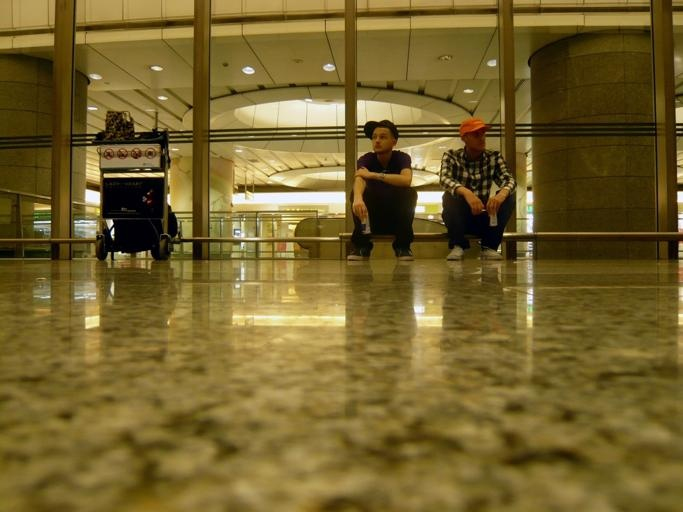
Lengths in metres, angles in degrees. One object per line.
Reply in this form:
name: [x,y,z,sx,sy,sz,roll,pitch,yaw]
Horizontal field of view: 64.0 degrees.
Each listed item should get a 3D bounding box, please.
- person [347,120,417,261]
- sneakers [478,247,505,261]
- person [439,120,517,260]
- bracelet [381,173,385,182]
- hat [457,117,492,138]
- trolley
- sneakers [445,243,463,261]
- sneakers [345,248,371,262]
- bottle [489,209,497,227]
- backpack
person: [0.273,-0.497,3.775,0.477,1.025,0.692,0,1,5]
sneakers: [0.991,-0.018,3.634,0.065,0.072,0.154,1,-2,-17]
person: [0.917,-0.458,3.657,0.508,0.949,0.641,0,1,9]
bracelet: [0.279,-0.536,3.669,0.025,0.038,0.040,2,-19,11]
hat: [0.873,-0.864,3.646,0.109,0.076,0.150,-10,7,-28]
trolley: [-1.719,-0.515,4.524,0.691,1.058,0.664,0,7,-10]
sneakers: [0.748,-0.026,3.582,0.093,0.094,0.233,0,1,15]
sneakers: [0.103,-0.009,3.709,0.068,0.077,0.190,-2,-6,21]
bottle: [0.967,-0.237,3.475,0.049,0.090,0.174,0,1,17]
backpack: [-1.646,-0.243,4.458,0.378,0.247,0.490,1,4,5]
